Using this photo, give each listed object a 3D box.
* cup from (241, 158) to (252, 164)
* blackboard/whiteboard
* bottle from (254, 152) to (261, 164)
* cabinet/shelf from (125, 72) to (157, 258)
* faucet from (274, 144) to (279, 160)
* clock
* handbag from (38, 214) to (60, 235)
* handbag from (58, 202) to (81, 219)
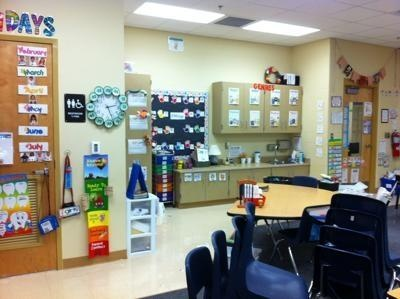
[{"bbox_3d":[1.111,0.291,7.707,0.203,0.138,0.116,0,3,-8],"label":"cup"},{"bbox_3d":[-0.515,-0.526,6.981,1.333,1.450,0.061,-3,6,-28],"label":"blackboard/whiteboard"},{"bbox_3d":[1.387,0.209,7.742,0.212,0.319,0.180,-1,4,-11],"label":"bottle"},{"bbox_3d":[-0.996,0.062,5.410,0.541,2.735,1.779,-1,9,-13],"label":"cabinet/shelf"},{"bbox_3d":[1.930,0.077,7.991,0.115,0.412,0.214,2,9,12],"label":"faucet"},{"bbox_3d":[-1.289,-0.585,4.416,0.535,0.627,0.047,0,-19,-17],"label":"clock"},{"bbox_3d":[-1.989,0.964,4.141,0.214,0.217,0.118,-13,12,-18],"label":"handbag"},{"bbox_3d":[-1.758,0.806,4.236,0.209,0.142,0.035,-9,8,-32],"label":"handbag"}]
